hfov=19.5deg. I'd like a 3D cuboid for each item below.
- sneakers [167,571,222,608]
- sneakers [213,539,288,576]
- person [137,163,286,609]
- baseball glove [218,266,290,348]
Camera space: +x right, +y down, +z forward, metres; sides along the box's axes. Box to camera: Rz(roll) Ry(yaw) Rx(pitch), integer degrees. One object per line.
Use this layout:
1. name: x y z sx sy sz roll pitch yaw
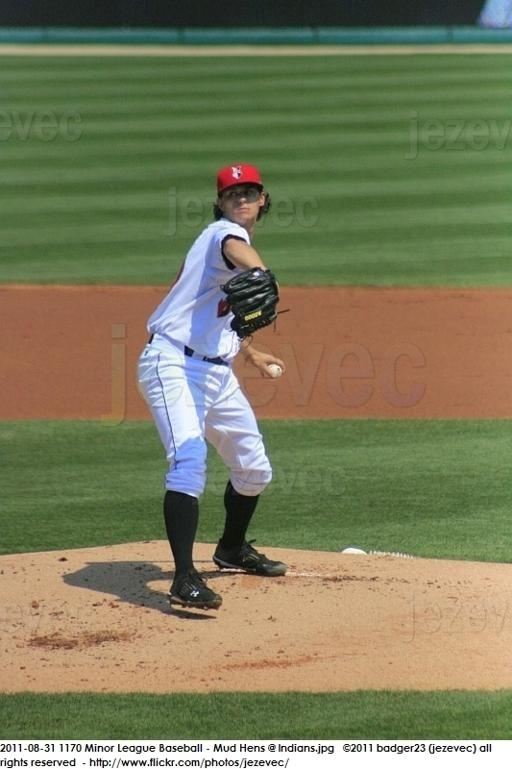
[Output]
1. sneakers: -0.303 0.992 7.119 0.264 0.125 0.132 2 -3 36
2. sneakers: -0.050 0.925 7.807 0.411 0.169 0.158 7 -8 8
3. person: -0.201 0.159 7.253 0.790 1.916 1.061 4 1 1
4. baseball glove: -0.011 -0.395 6.883 0.312 0.236 0.313 -19 -28 -10
